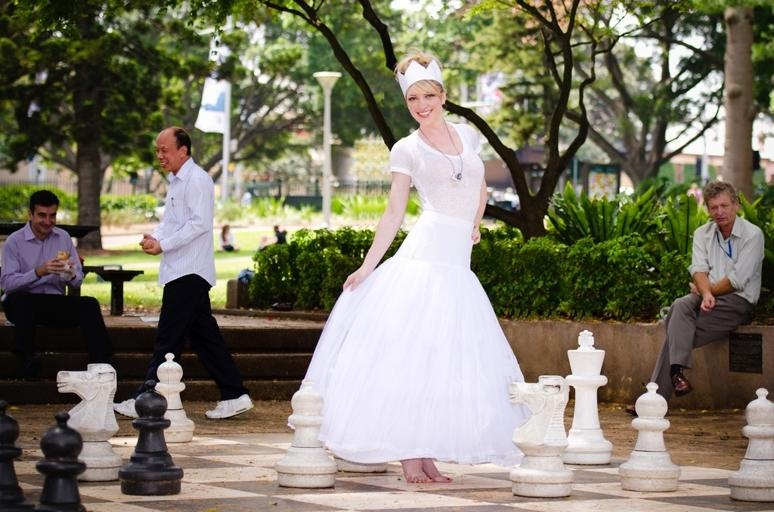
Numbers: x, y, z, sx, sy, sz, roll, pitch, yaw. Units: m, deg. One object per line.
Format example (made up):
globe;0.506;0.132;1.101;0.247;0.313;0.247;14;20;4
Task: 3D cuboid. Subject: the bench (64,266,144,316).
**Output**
bench;-3.779;0.515;18.088;0.607;0.538;1.124;4;-2;-16

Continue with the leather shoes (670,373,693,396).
leather shoes;3.311;1.443;14.664;0.195;0.236;0.270;0;-2;7

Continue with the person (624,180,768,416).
person;3.715;0.372;15.080;1.348;2.503;0.637;1;-2;-27

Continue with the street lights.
street lights;-1.241;-2.372;26.745;0.818;2.868;0.800;3;-7;-18

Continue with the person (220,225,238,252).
person;-3.926;-0.438;32.323;0.533;0.827;0.613;-1;4;-20

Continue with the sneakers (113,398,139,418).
sneakers;-2.898;1.689;14.313;0.221;0.220;0.485;0;-2;-11
